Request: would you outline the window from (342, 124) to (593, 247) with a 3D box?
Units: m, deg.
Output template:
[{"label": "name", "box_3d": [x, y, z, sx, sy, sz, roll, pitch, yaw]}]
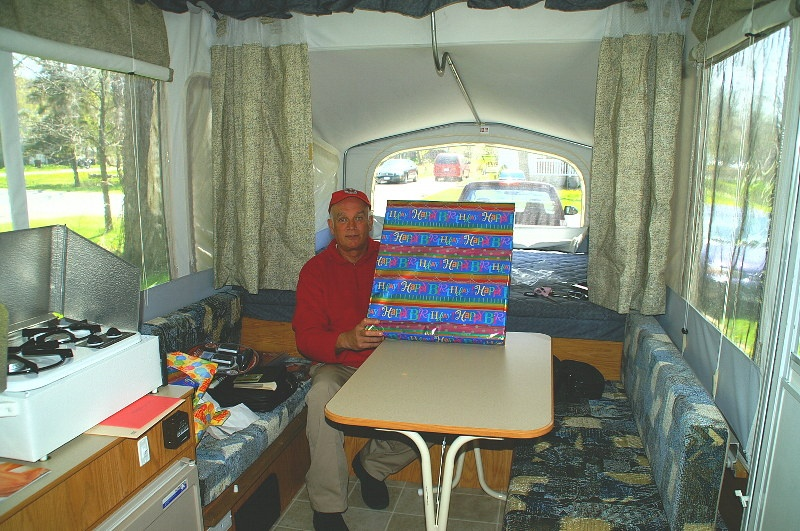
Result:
[{"label": "window", "box_3d": [0.901, -0.852, 6.983, 3.212, 1.893, 0.046, 0, 36, -2]}]

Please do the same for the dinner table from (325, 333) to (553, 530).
[{"label": "dinner table", "box_3d": [0.217, 0.550, 2.575, 0.869, 0.361, 0.846, 2, 7, 11]}]

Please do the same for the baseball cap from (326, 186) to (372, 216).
[{"label": "baseball cap", "box_3d": [-0.288, -0.391, 3.253, 0.175, 0.203, 0.212, 0, 17, -10]}]

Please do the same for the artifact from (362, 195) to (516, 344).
[{"label": "artifact", "box_3d": [0.200, 0.025, 2.880, 0.679, 0.672, 0.342, 1, 8, 8]}]
